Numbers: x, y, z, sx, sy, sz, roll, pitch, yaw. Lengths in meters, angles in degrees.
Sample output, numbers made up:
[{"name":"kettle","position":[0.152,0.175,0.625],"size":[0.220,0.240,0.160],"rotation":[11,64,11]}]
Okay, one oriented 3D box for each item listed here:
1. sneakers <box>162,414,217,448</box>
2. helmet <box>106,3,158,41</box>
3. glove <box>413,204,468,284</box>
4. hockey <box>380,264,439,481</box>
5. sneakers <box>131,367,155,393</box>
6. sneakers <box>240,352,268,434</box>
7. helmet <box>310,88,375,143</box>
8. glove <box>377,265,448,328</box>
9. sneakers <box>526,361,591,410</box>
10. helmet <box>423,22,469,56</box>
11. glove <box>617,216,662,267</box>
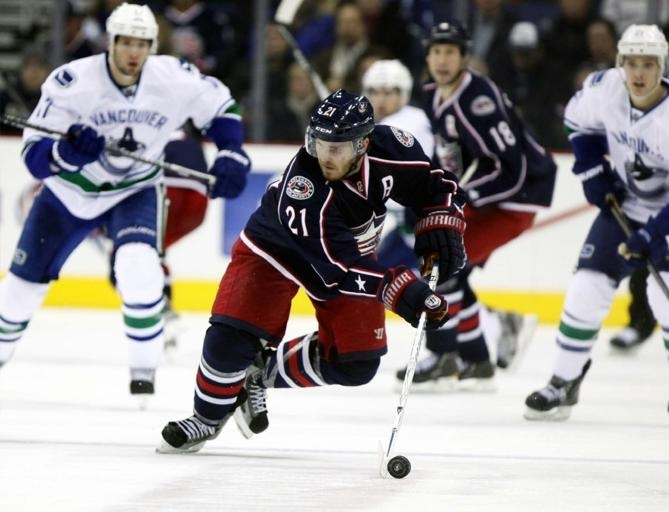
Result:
[{"name":"sneakers","position":[-0.541,0.661,3.378],"size":[0.226,0.090,0.088],"rotation":[-15,72,-46]},{"name":"helmet","position":[-0.869,-0.998,3.799],"size":[0.207,0.146,0.195],"rotation":[-1,19,-15]},{"name":"glove","position":[0.431,-0.041,3.413],"size":[0.115,0.269,0.194],"rotation":[16,-3,-35]},{"name":"hockey","position":[0.321,0.511,3.730],"size":[0.093,0.096,0.814],"rotation":[12,61,13]},{"name":"sneakers","position":[-0.851,0.550,3.953],"size":[0.111,0.107,0.108],"rotation":[0,-9,-7]},{"name":"sneakers","position":[-0.321,0.548,3.579],"size":[0.110,0.326,0.129],"rotation":[7,-12,-41]},{"name":"helmet","position":[0.028,-0.506,3.168],"size":[0.204,0.140,0.289],"rotation":[21,34,26]},{"name":"glove","position":[0.287,0.157,3.138],"size":[0.250,0.120,0.180],"rotation":[35,30,-12]},{"name":"sneakers","position":[0.996,0.580,3.976],"size":[0.363,0.260,0.117],"rotation":[0,27,-41]},{"name":"helmet","position":[0.601,-1.215,4.791],"size":[0.220,0.140,0.294],"rotation":[3,9,19]},{"name":"glove","position":[1.282,-0.054,3.627],"size":[0.164,0.187,0.073],"rotation":[39,6,7]}]
